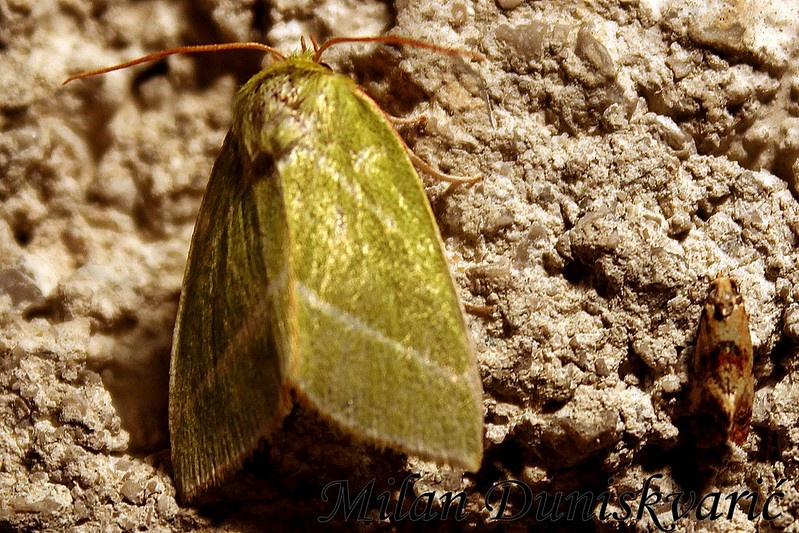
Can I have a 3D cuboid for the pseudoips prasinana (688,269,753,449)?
[{"bbox_3d":[0.975,0.265,3.355,0.187,0.505,0.183,1,9,21],"label":"pseudoips prasinana"}]
